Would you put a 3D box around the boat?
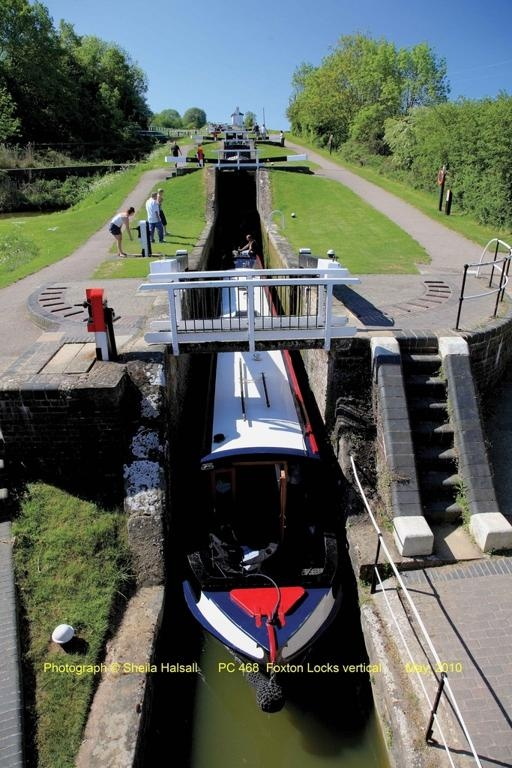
[{"bbox_3d":[0.153,1.794,8.330,1.433,1.959,7.441,0,37,-2],"label":"boat"}]
